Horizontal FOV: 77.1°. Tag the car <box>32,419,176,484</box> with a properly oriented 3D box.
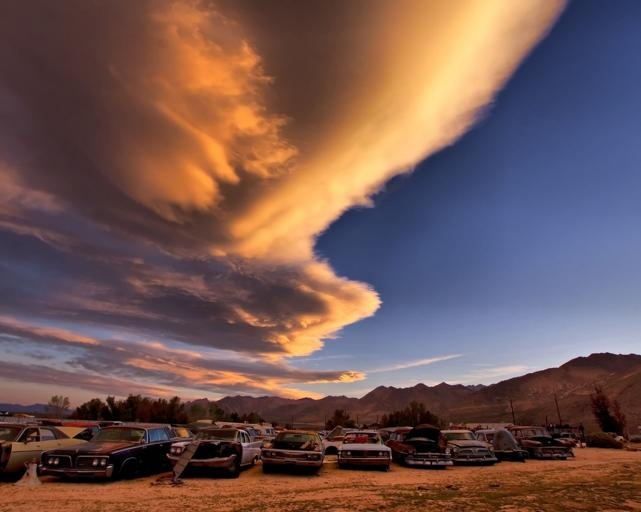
[{"bbox_3d":[-7.940,7.540,15.708,2.143,1.944,4.003,-17,-30,24],"label":"car"}]
